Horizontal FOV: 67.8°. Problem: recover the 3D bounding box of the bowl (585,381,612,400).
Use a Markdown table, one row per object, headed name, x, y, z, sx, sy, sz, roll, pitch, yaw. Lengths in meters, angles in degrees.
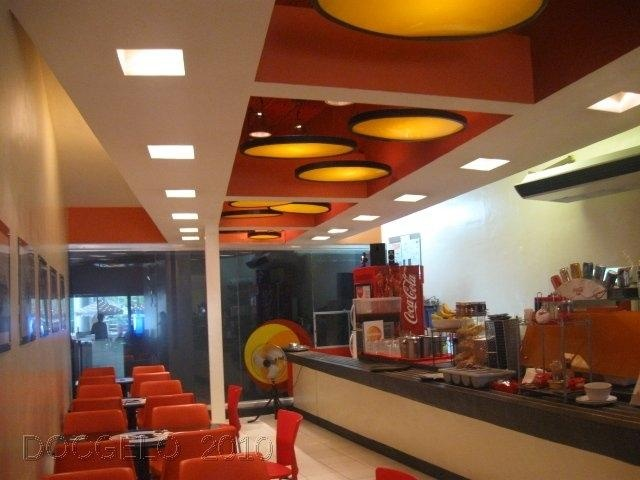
| name | x | y | z | sx | sy | sz | roll | pitch | yaw |
| --- | --- | --- | --- | --- | --- | --- | --- | --- | --- |
| bowl | 2.013 | 1.098 | 3.456 | 0.205 | 0.118 | 0.148 | 5 | -10 | -36 |
